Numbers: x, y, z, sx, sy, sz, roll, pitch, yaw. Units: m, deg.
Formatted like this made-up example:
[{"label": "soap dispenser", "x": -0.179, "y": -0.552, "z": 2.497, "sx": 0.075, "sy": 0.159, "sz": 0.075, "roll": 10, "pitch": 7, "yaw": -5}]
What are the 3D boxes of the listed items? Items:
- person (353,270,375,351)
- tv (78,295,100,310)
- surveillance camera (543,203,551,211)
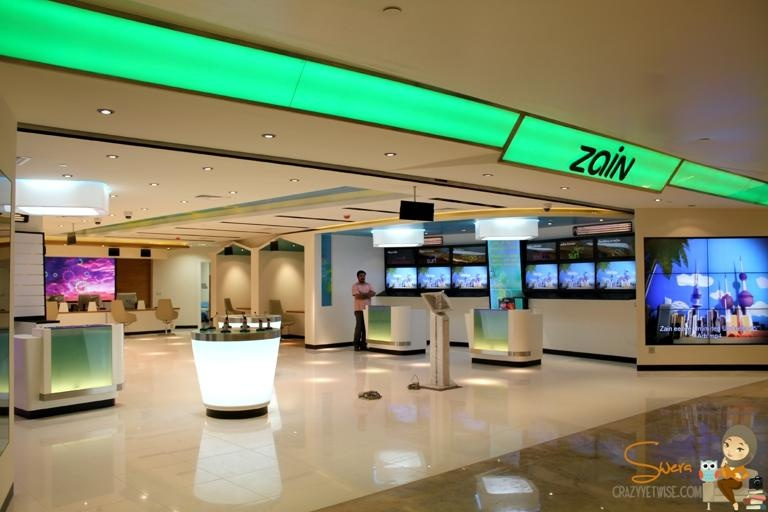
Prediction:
[{"label": "person", "x": -0.629, "y": 1.523, "z": 13.856, "sx": 0.628, "sy": 2.204, "sz": 0.404, "roll": -3, "pitch": -2, "yaw": 18}, {"label": "tv", "x": -10.441, "y": 1.628, "z": 17.383, "sx": 0.671, "sy": 0.685, "sz": 0.760, "roll": 4, "pitch": -5, "yaw": -44}, {"label": "surveillance camera", "x": 3.424, "y": -1.006, "z": 10.288, "sx": 0.148, "sy": 0.100, "sz": 0.152, "roll": 0, "pitch": -4, "yaw": -3}]
